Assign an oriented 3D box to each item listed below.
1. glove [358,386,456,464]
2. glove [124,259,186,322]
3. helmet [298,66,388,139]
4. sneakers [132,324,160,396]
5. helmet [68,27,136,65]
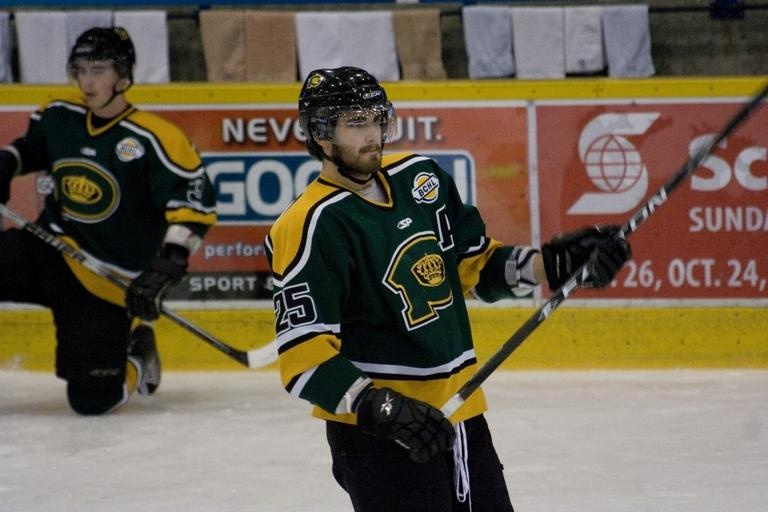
[{"bbox_3d":[0.113,0.770,6.350,0.443,0.259,0.169,18,-28,-11],"label":"glove"},{"bbox_3d":[-1.246,0.195,7.966,0.243,0.363,0.160,38,-5,9],"label":"glove"},{"bbox_3d":[-0.201,-0.684,6.549,0.399,0.353,0.305,-3,3,18],"label":"helmet"},{"bbox_3d":[-1.393,0.615,8.326,0.148,0.414,0.177,-4,2,-9],"label":"sneakers"},{"bbox_3d":[-1.609,-1.213,8.170,0.225,0.224,0.292,-6,-7,-10],"label":"helmet"}]
